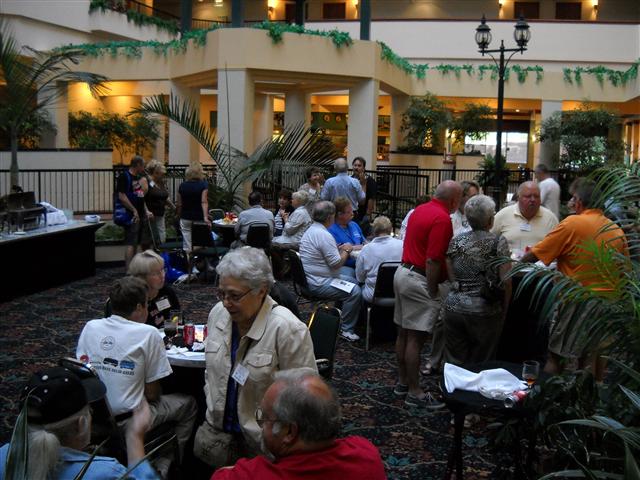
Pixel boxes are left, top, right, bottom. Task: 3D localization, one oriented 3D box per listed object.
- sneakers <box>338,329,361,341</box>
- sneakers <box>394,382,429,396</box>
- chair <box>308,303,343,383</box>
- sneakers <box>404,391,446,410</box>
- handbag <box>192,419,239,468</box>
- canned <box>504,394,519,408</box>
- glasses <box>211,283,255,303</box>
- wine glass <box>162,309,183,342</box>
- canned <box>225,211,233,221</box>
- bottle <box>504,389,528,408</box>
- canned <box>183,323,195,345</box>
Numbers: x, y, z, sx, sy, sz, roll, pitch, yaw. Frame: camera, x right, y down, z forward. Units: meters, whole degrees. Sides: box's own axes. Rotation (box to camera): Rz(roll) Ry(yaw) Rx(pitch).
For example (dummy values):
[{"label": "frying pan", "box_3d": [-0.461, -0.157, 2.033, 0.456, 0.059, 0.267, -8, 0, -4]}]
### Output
[{"label": "sneakers", "box_3d": [0.355, 1.168, 6.397, 0.293, 0.142, 0.150, 11, 8, 18]}, {"label": "sneakers", "box_3d": [0.827, 1.370, 4.796, 0.327, 0.150, 0.123, 1, -8, 14]}, {"label": "chair", "box_3d": [0.023, 0.793, 3.928, 0.238, 0.538, 0.762, 2, 8, -1]}, {"label": "sneakers", "box_3d": [0.934, 1.438, 4.702, 0.275, 0.133, 0.148, 2, -4, -2]}, {"label": "handbag", "box_3d": [-0.622, 1.203, 3.078, 0.269, 0.229, 0.082, 6, 8, 24]}, {"label": "canned", "box_3d": [1.128, 0.948, 3.091, 0.106, 0.053, 0.058, -3, 9, -31]}, {"label": "glasses", "box_3d": [-0.469, 0.300, 2.899, 0.190, 0.087, 0.069, 5, 8, 16]}, {"label": "wine glass", "box_3d": [-1.118, 0.651, 3.976, 0.130, 0.242, 0.138, 12, 15, 38]}, {"label": "canned", "box_3d": [-1.722, -0.443, 9.886, 0.179, 0.231, 0.191, 0, 1, -8]}, {"label": "bottle", "box_3d": [1.146, 0.930, 3.080, 0.054, 0.072, 0.263, 14, 14, 29]}, {"label": "canned", "box_3d": [-0.963, 0.680, 3.842, 0.080, 0.138, 0.234, 0, 9, -15]}]
